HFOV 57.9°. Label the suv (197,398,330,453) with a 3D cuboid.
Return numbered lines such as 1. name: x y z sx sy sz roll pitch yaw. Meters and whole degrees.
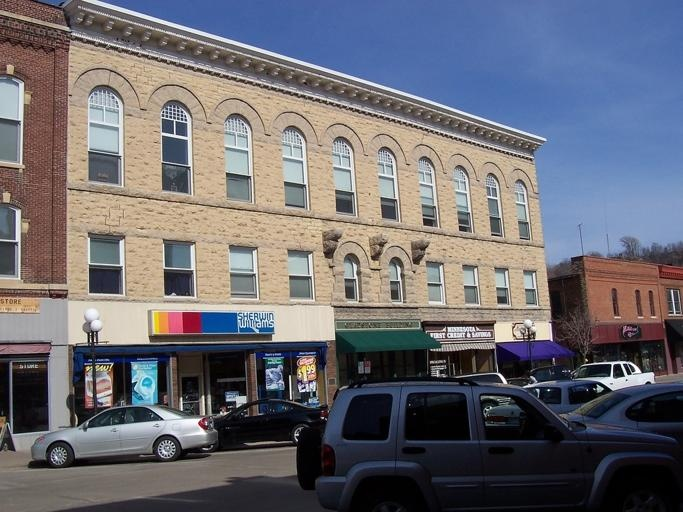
1. suv: -2.389 5.517 20.329 4.956 1.603 2.079 0 -9 -1
